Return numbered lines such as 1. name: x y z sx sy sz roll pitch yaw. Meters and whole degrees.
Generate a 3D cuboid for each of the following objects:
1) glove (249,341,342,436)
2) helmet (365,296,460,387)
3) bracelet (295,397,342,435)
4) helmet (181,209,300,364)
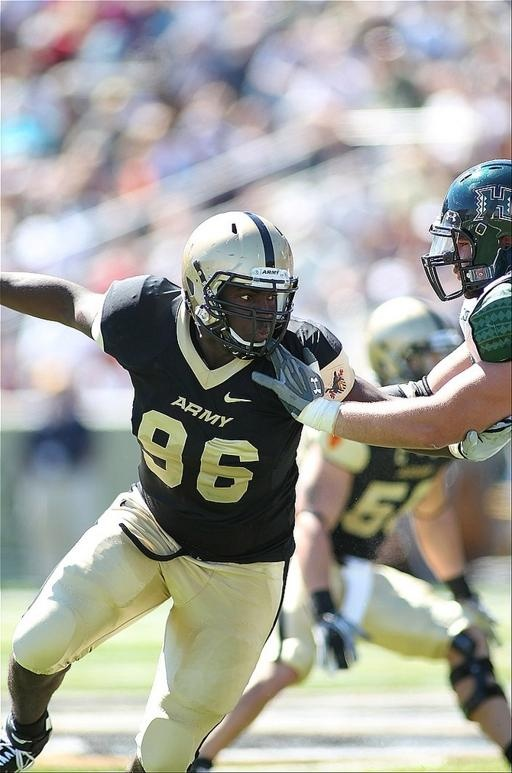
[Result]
1. glove: 0.073 0.000 1.877 0.132 0.219 0.070 -39 -17 -21
2. helmet: 0.556 -0.160 3.051 0.386 0.340 0.297 -4 6 40
3. bracelet: 0.125 0.065 1.855 0.072 0.070 0.091 17 1 -21
4. helmet: -0.042 -0.238 1.864 0.289 0.322 0.354 -6 15 -33
